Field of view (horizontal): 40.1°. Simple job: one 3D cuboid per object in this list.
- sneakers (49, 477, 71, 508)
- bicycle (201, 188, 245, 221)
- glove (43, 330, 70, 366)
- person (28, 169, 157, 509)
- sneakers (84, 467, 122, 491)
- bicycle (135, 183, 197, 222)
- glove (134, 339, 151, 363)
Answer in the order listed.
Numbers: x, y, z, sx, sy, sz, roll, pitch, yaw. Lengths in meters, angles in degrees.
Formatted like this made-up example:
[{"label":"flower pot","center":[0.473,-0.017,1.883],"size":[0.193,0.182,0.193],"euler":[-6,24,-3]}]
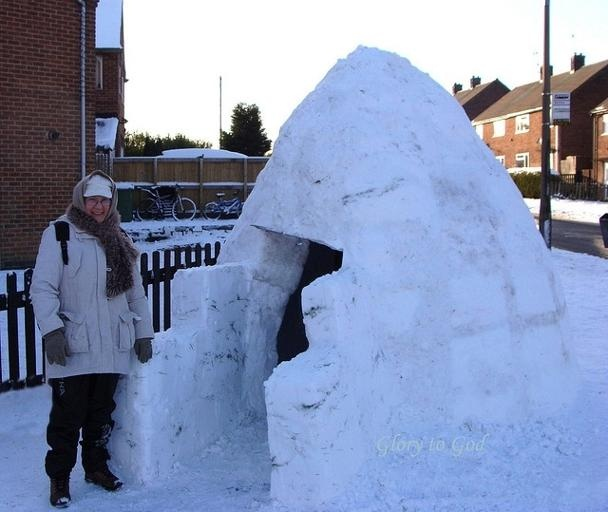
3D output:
[{"label":"sneakers","center":[-1.743,1.711,5.977],"size":[0.147,0.196,0.125],"euler":[-1,1,-12]},{"label":"bicycle","center":[-2.000,-1.229,20.509],"size":[0.919,0.692,1.337],"euler":[0,2,23]},{"label":"glove","center":[-1.742,0.654,5.918],"size":[0.154,0.264,0.098],"euler":[-3,-11,11]},{"label":"person","center":[-1.552,0.586,6.114],"size":[0.843,2.414,0.345],"euler":[-1,1,-23]},{"label":"sneakers","center":[-1.464,1.659,6.203],"size":[0.308,0.168,0.124],"euler":[9,7,24]},{"label":"bicycle","center":[-3.349,-1.263,20.215],"size":[1.412,1.089,0.811],"euler":[0,7,-1]},{"label":"glove","center":[-1.180,0.708,6.165],"size":[0.104,0.189,0.057],"euler":[-1,-5,-5]}]
